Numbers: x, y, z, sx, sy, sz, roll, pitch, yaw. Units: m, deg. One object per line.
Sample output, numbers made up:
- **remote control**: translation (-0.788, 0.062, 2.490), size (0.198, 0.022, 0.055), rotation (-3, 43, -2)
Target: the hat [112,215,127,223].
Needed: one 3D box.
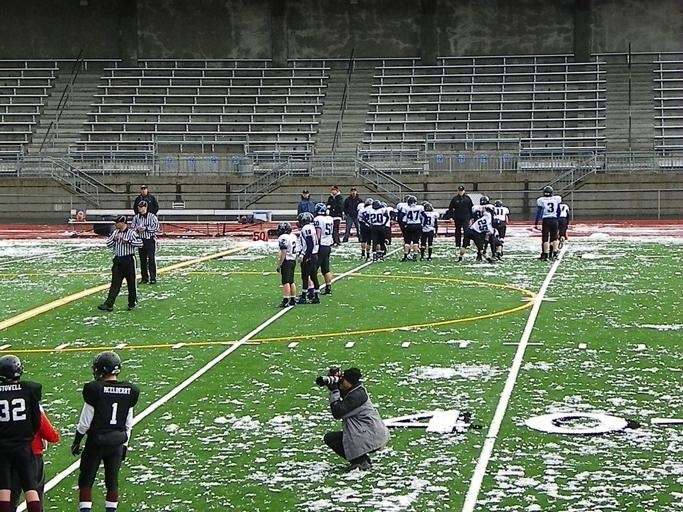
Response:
- **hat**: translation (-4.493, -0.738, 22.100), size (0.182, 0.137, 0.248), rotation (-4, 12, -44)

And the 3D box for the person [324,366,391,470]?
- **person**: translation (0.184, 2.113, 14.367), size (0.833, 1.297, 0.293), rotation (-1, 14, -2)

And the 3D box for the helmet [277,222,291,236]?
- **helmet**: translation (-1.228, -0.536, 22.000), size (0.302, 0.279, 0.225), rotation (10, 4, 12)

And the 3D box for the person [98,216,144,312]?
- **person**: translation (-4.489, 0.137, 22.255), size (0.852, 1.870, 0.862), rotation (-4, 14, -11)

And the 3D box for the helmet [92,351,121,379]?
- **helmet**: translation (-2.887, 1.325, 13.447), size (0.282, 0.299, 0.364), rotation (-2, 8, -44)

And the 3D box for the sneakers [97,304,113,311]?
- **sneakers**: translation (-4.767, 1.025, 21.998), size (0.132, 0.119, 0.258), rotation (0, -10, 16)

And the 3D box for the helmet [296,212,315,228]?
- **helmet**: translation (-0.765, -0.747, 22.892), size (0.262, 0.320, 0.507), rotation (-2, 14, -6)

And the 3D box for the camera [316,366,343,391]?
- **camera**: translation (-0.208, 1.571, 14.214), size (0.321, 0.179, 0.340), rotation (0, -3, 39)

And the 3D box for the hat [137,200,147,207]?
- **hat**: translation (-4.596, -1.185, 25.179), size (0.169, 0.175, 0.208), rotation (0, -9, -17)

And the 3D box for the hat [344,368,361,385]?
- **hat**: translation (0.131, 1.556, 14.367), size (0.231, 0.214, 0.199), rotation (-2, 14, -4)
